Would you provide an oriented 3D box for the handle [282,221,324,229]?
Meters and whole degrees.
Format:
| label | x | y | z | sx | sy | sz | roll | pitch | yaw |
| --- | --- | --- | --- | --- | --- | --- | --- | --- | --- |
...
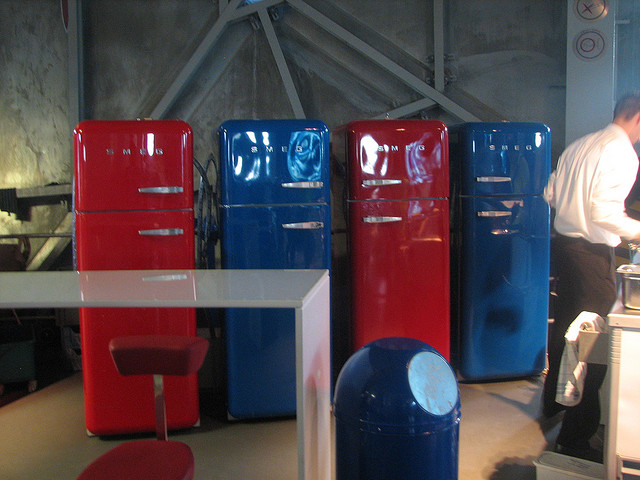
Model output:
| label | x | y | z | sx | sy | sz | roll | pitch | yaw |
| --- | --- | --- | --- | --- | --- | --- | --- | --- | --- |
| handle | -0.150 | -0.119 | 4.837 | 0.330 | 0.090 | 0.044 | -1 | 1 | -9 |

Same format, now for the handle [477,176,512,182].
| label | x | y | z | sx | sy | sz | roll | pitch | yaw |
| --- | --- | --- | --- | --- | --- | --- | --- | --- | --- |
| handle | 1.397 | -0.496 | 5.169 | 0.281 | 0.048 | 0.036 | -3 | 7 | -13 |

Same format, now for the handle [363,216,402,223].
| label | x | y | z | sx | sy | sz | roll | pitch | yaw |
| --- | --- | --- | --- | --- | --- | --- | --- | --- | --- |
| handle | 0.484 | -0.167 | 4.998 | 0.304 | 0.051 | 0.025 | -2 | 7 | -2 |

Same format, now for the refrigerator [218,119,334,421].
| label | x | y | z | sx | sy | sz | roll | pitch | yaw |
| --- | --- | --- | --- | --- | --- | --- | --- | --- | --- |
| refrigerator | -0.345 | 0.230 | 4.846 | 0.844 | 2.268 | 0.304 | -1 | 7 | 1 |

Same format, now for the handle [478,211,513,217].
| label | x | y | z | sx | sy | sz | roll | pitch | yaw |
| --- | --- | --- | --- | --- | --- | --- | --- | --- | --- |
| handle | 1.396 | -0.219 | 5.189 | 0.216 | 0.042 | 0.040 | 1 | 3 | -5 |

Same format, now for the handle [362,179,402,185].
| label | x | y | z | sx | sy | sz | roll | pitch | yaw |
| --- | --- | --- | --- | --- | --- | --- | --- | --- | --- |
| handle | 0.479 | -0.455 | 4.964 | 0.310 | 0.040 | 0.021 | -2 | 7 | -7 |

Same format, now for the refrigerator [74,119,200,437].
| label | x | y | z | sx | sy | sz | roll | pitch | yaw |
| --- | --- | --- | --- | --- | --- | --- | --- | --- | --- |
| refrigerator | -1.297 | 0.287 | 4.586 | 0.836 | 2.282 | 0.451 | -3 | 7 | -17 |

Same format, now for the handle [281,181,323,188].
| label | x | y | z | sx | sy | sz | roll | pitch | yaw |
| --- | --- | --- | --- | --- | --- | --- | --- | --- | --- |
| handle | -0.133 | -0.420 | 4.818 | 0.302 | 0.049 | 0.028 | -3 | 7 | -10 |
